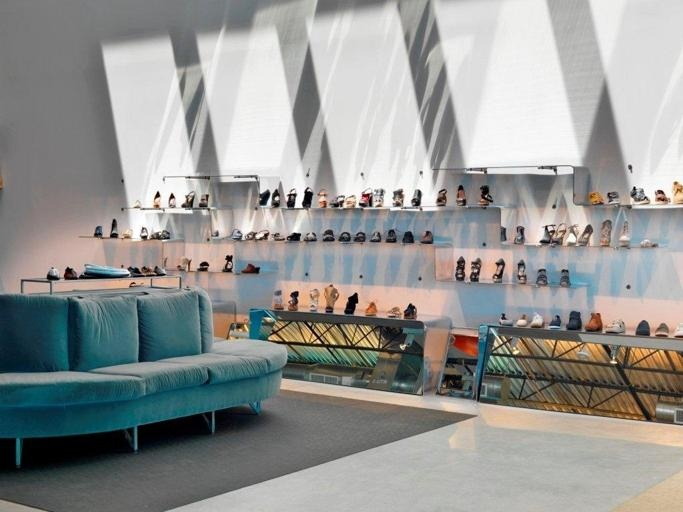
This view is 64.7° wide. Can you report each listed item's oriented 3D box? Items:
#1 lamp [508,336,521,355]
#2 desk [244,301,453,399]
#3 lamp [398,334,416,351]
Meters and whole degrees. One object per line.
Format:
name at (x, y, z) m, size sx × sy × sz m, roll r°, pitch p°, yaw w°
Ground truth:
lamp at (1.927, 1.018, 6.033) m, size 0.126 × 0.168 × 0.040 m, roll 8°, pitch -3°, yaw 29°
desk at (0.005, 1.211, 7.239) m, size 2.611 × 0.861 × 0.713 m, roll 0°, pitch -3°, yaw 29°
lamp at (0.777, 1.043, 6.459) m, size 0.061 × 0.202 × 0.129 m, roll 25°, pitch 8°, yaw -42°
